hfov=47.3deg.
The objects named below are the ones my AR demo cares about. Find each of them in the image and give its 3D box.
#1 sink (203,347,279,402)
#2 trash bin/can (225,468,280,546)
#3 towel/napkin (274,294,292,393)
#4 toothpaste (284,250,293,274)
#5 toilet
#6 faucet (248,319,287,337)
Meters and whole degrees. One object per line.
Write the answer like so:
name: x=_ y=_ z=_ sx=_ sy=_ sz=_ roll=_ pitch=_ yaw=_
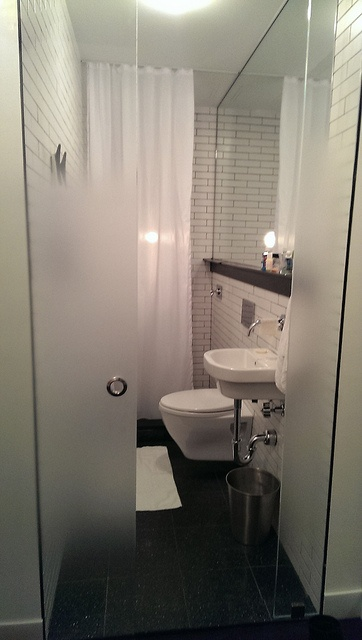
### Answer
sink: x=0.281 y=0.298 z=1.982 sx=0.341 sy=0.290 sz=0.529 roll=2 pitch=5 yaw=2
trash bin/can: x=0.314 y=0.870 z=1.911 sx=0.202 sy=0.281 sz=0.215 roll=-5 pitch=14 yaw=-26
towel/napkin: x=0.375 y=0.112 z=1.536 sx=0.038 sy=0.339 sz=0.147 roll=2 pitch=4 yaw=13
toothpaste: x=0.473 y=-0.260 z=1.847 sx=0.034 sy=0.105 sz=0.103 roll=2 pitch=4 yaw=12
toilet: x=0.146 y=0.610 z=2.647 sx=0.529 sy=0.499 sz=0.517 roll=-2 pitch=26 yaw=2
faucet: x=0.402 y=0.029 z=1.931 sx=0.172 sy=0.128 sz=0.067 roll=-1 pitch=32 yaw=0
